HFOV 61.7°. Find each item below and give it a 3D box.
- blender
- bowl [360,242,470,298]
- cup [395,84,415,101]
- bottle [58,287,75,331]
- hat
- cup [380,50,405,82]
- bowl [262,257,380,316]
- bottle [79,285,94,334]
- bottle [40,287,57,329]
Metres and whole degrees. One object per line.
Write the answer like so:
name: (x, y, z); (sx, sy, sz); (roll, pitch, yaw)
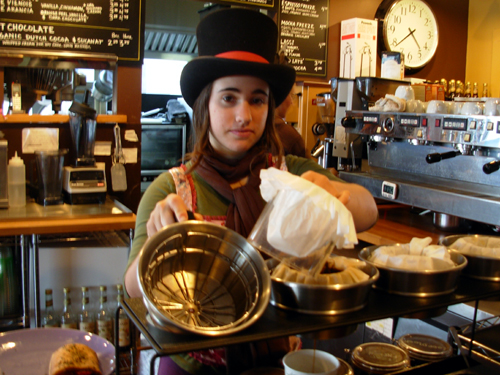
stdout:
blender: (-1.165, -0.262, 2.924); (0.302, 0.689, 0.347); (4, 5, 20)
bowl: (0.459, 0.228, 1.151); (0.307, 0.077, 0.174); (3, 11, 6)
cup: (1.095, -0.674, 2.978); (0.125, 0.110, 0.341); (5, 12, 18)
bottle: (-1.076, 0.682, 2.451); (0.081, 0.256, 0.166); (-3, 11, -27)
hat: (-0.032, -0.424, 1.507); (0.333, 0.190, 0.292); (-1, -3, -25)
cup: (1.273, -1.089, 3.743); (0.201, 0.264, 0.256); (-8, 14, -43)
bowl: (0.188, 0.237, 1.052); (0.289, 0.090, 0.174); (1, 11, -3)
bottle: (-0.975, 0.673, 2.482); (0.088, 0.294, 0.253); (-2, 11, -22)
bottle: (-1.174, 0.685, 2.433); (0.089, 0.271, 0.242); (-4, 11, -28)
